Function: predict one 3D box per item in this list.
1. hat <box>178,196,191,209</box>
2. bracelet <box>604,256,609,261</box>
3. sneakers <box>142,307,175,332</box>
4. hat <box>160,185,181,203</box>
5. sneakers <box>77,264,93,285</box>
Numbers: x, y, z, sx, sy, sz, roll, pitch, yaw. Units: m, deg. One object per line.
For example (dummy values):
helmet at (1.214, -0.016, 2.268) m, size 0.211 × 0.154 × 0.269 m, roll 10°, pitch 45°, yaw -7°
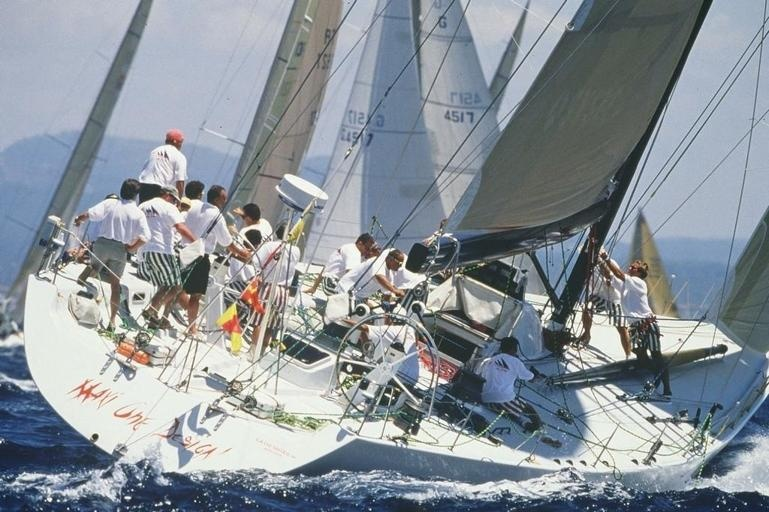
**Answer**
hat at (-2.382, -0.648, 11.936) m, size 0.140 × 0.178 × 0.130 m, roll 3°, pitch 3°, yaw 21°
bracelet at (2.903, 0.033, 13.013) m, size 0.016 × 0.048 × 0.048 m, roll -10°, pitch 40°, yaw -31°
sneakers at (-2.572, 0.715, 11.266) m, size 0.345 × 0.249 × 0.169 m, roll 15°, pitch -1°, yaw -23°
hat at (-2.477, -0.714, 11.592) m, size 0.204 × 0.109 × 0.150 m, roll 35°, pitch -4°, yaw -25°
sneakers at (-3.440, 0.220, 11.460) m, size 0.118 × 0.225 × 0.057 m, roll 35°, pitch -36°, yaw -3°
